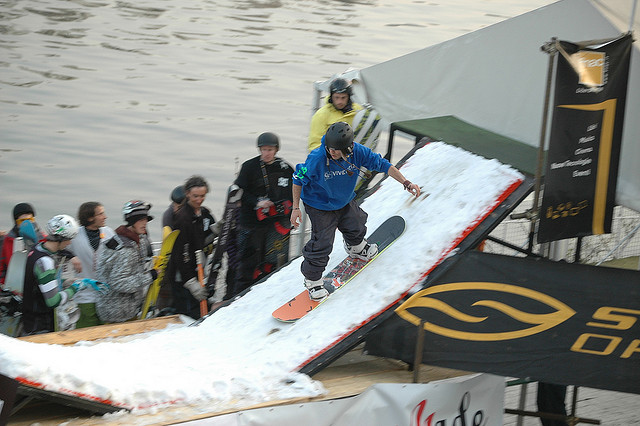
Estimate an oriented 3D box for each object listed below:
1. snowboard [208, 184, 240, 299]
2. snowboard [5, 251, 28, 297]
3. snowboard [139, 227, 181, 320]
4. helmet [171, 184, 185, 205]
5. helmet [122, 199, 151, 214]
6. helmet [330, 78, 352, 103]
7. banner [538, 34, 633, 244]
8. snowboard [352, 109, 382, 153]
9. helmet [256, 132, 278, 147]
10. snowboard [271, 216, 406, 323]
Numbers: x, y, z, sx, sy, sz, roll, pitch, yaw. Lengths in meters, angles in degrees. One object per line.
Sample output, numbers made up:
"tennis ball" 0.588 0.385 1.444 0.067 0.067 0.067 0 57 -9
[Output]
"snowboard" -1.425 0.415 12.111 0.182 1.671 0.579 9 7 10
"snowboard" -4.202 0.809 11.425 0.227 0.543 0.242 7 7 0
"snowboard" -2.272 1.196 11.726 0.450 1.891 0.385 1 16 -33
"helmet" -2.050 -0.265 11.936 0.165 0.264 0.475 5 5 -13
"helmet" -2.743 -0.091 12.296 0.507 0.144 0.309 -7 10 19
"helmet" 0.303 -1.790 11.994 0.321 0.349 0.251 5 6 0
"banner" 3.381 -0.950 10.538 1.068 2.704 0.161 5 8 -13
"snowboard" 0.686 -1.244 12.424 0.590 0.789 0.581 1 50 -1
"helmet" -0.782 -1.086 12.276 0.319 0.206 0.200 5 6 12
"snowboard" 0.309 0.784 10.997 2.554 0.243 0.486 -29 39 -3
